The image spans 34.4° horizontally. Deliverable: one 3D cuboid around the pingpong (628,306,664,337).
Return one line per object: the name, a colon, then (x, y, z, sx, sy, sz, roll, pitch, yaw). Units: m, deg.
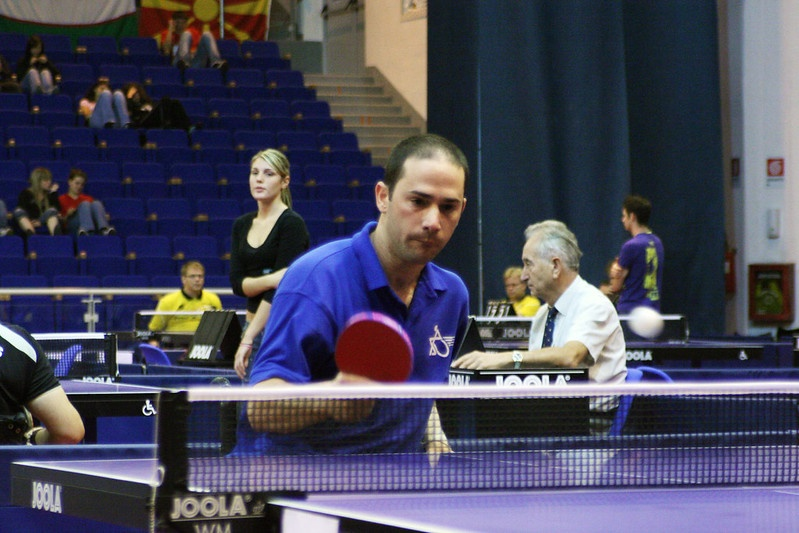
pingpong: (2.299, 0.543, 12.040, 0.319, 0.311, 0.544, 1, 9, 4)

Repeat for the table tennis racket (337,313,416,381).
table tennis racket: (-0.150, 0.504, 7.879, 0.405, 0.434, 0.099, -16, 15, 6)

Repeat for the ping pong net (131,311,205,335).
ping pong net: (-2.422, 0.569, 13.286, 0.704, 0.201, 0.389, 2, 10, 11)
